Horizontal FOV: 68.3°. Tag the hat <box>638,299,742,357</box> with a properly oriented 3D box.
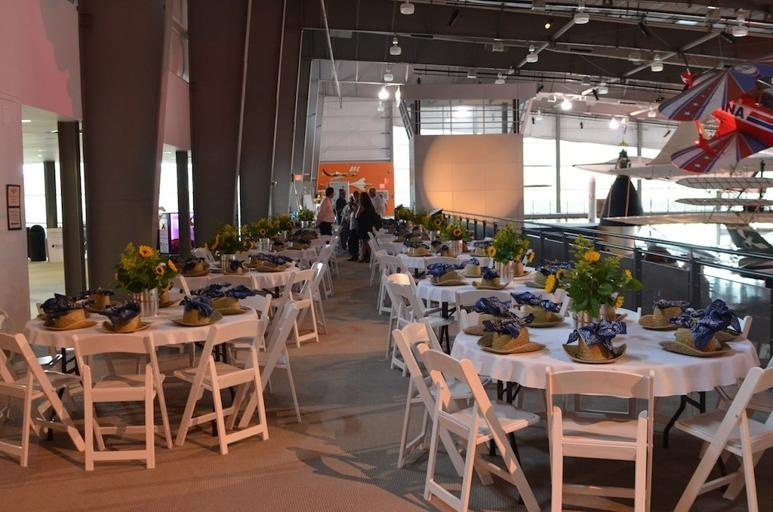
[{"bbox_3d":[2.439,0.553,4.367,0.539,0.223,0.527,-5,7,-5],"label":"hat"}]
